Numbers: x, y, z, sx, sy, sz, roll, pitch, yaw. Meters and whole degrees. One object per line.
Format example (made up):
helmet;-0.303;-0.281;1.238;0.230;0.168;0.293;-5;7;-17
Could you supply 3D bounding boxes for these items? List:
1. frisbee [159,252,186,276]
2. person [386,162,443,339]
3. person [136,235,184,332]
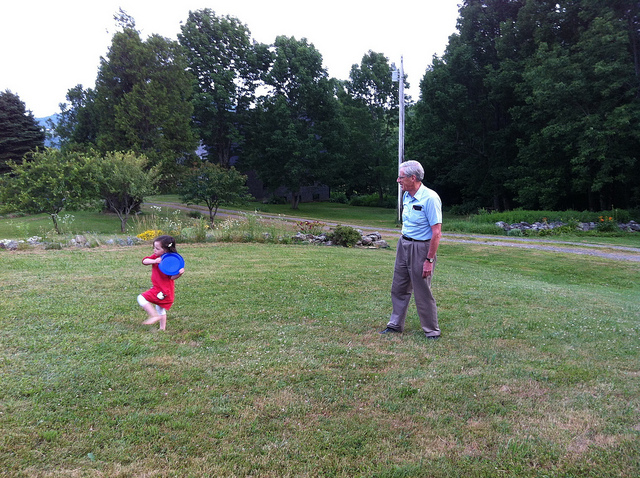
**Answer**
frisbee;-2.439;0.416;7.795;0.361;0.397;0.206;0;11;-20
person;1.599;0.183;7.759;0.885;2.775;0.613;7;11;18
person;-2.648;0.674;7.861;0.675;1.406;1.001;-1;12;-21
